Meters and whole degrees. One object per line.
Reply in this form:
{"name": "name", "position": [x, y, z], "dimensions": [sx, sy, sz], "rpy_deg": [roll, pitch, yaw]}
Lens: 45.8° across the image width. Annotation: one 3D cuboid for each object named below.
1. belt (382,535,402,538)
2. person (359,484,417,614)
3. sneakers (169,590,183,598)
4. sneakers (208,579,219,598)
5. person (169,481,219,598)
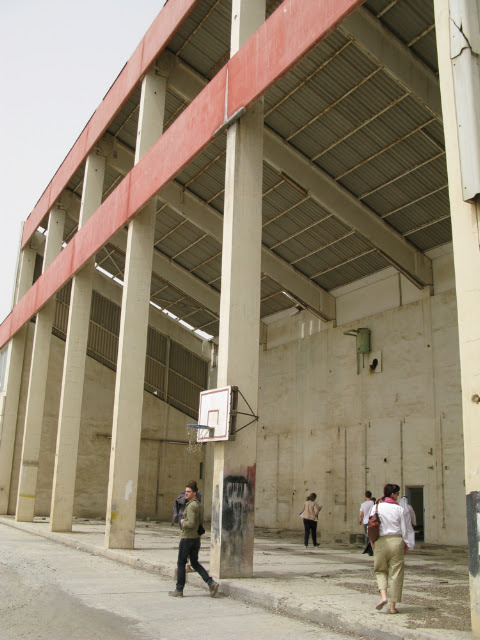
{"name": "belt", "position": [1.602, 2.264, 5.928], "dimensions": [0.172, 0.030, 0.027], "rpy_deg": [-4, -19, 15]}
{"name": "person", "position": [1.750, 2.568, 6.494], "dimensions": [0.449, 1.288, 1.616], "rpy_deg": [-4, -20, 16]}
{"name": "sneakers", "position": [-0.791, 3.434, 7.086], "dimensions": [0.201, 0.081, 0.220], "rpy_deg": [8, -20, -17]}
{"name": "sneakers", "position": [-0.339, 3.573, 7.445], "dimensions": [0.112, 0.128, 0.284], "rpy_deg": [-3, -49, -16]}
{"name": "person", "position": [-0.582, 2.931, 7.596], "dimensions": [0.582, 1.419, 1.401], "rpy_deg": [2, -19, -1]}
